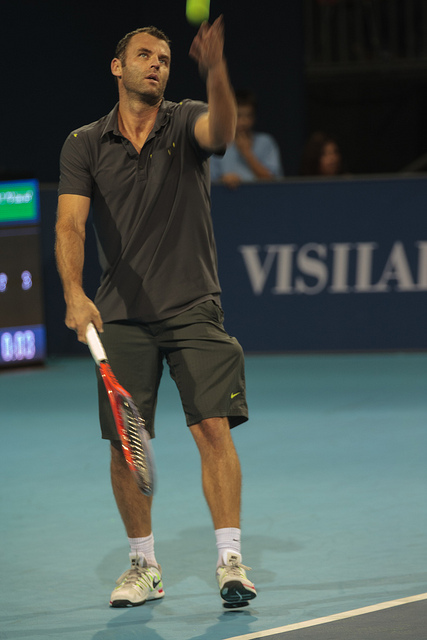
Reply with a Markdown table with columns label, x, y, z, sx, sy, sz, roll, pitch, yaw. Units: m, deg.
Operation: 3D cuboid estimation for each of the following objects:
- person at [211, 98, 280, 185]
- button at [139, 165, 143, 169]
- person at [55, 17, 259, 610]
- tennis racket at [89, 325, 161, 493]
| label | x | y | z | sx | sy | sz | roll | pitch | yaw |
| --- | --- | --- | --- | --- | --- | --- | --- | --- | --- |
| person | 0.295 | -1.700 | 6.678 | 0.742 | 1.017 | 0.609 | 0 | 5 | -2 |
| button | -0.214 | -0.450 | 1.971 | 0.011 | 0.009 | 0.002 | -3 | 7 | 13 |
| person | -0.179 | -0.041 | 1.956 | 0.563 | 1.728 | 0.476 | -2 | 3 | -7 |
| tennis racket | -0.243 | 0.244 | 1.830 | 0.227 | 0.444 | 0.092 | 1 | 4 | 40 |
